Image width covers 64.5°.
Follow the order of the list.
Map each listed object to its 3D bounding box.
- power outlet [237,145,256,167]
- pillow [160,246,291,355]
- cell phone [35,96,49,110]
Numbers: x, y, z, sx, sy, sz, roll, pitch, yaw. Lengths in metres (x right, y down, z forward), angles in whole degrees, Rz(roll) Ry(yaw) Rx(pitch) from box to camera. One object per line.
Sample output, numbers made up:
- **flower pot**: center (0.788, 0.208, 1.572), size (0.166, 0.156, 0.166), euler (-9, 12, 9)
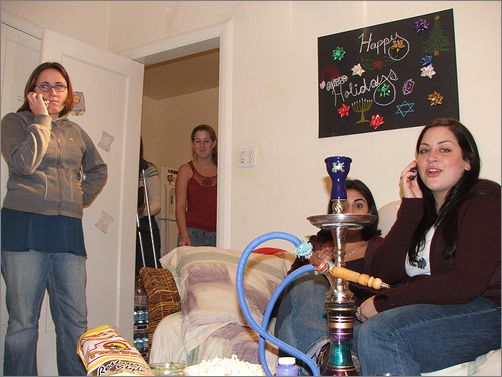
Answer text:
- **power outlet**: center (-0.027, -0.234, 2.843), size (0.136, 0.150, 0.016), euler (-4, -7, 28)
- **pillow**: center (-0.099, 0.548, 2.164), size (0.655, 0.200, 0.703), euler (8, 36, -9)
- **cell phone**: center (-1.219, -0.513, 2.314), size (0.027, 0.123, 0.047), euler (-41, -25, 16)
